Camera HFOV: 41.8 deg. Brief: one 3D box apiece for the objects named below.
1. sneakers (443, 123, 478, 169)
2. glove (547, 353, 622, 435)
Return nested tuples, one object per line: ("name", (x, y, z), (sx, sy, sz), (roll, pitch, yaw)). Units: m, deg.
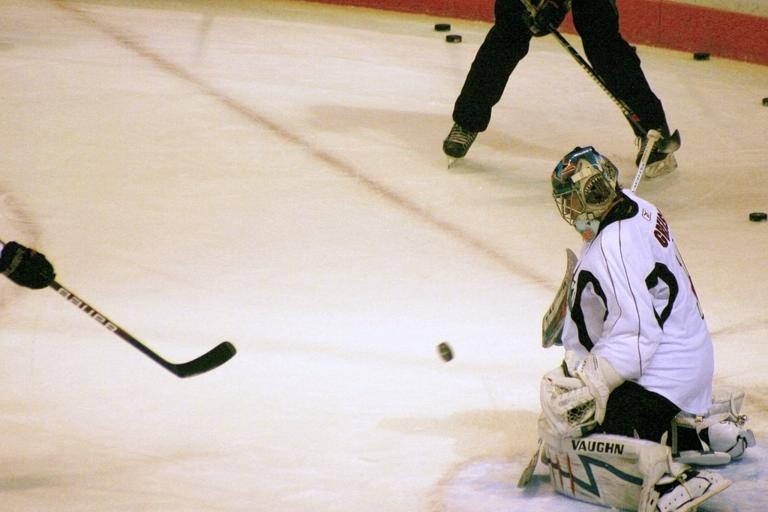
("sneakers", (0.499, -0.723, 6.574), (0.142, 0.138, 0.387), (14, 38, 10))
("glove", (0.868, 0.621, 4.522), (0.298, 0.389, 0.161), (23, 21, 37))
